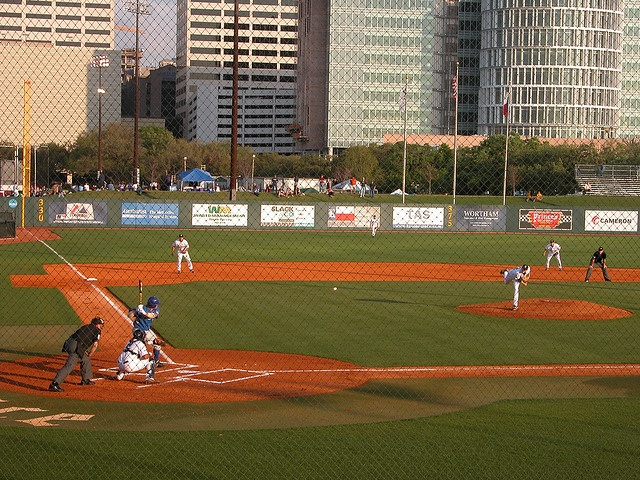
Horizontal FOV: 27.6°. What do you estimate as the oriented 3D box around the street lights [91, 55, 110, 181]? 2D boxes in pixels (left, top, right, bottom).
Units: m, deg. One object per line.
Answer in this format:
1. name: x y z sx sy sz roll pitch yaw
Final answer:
1. street lights: -14.386 -7.584 84.978 0.633 6.882 0.548 -3 3 -6
